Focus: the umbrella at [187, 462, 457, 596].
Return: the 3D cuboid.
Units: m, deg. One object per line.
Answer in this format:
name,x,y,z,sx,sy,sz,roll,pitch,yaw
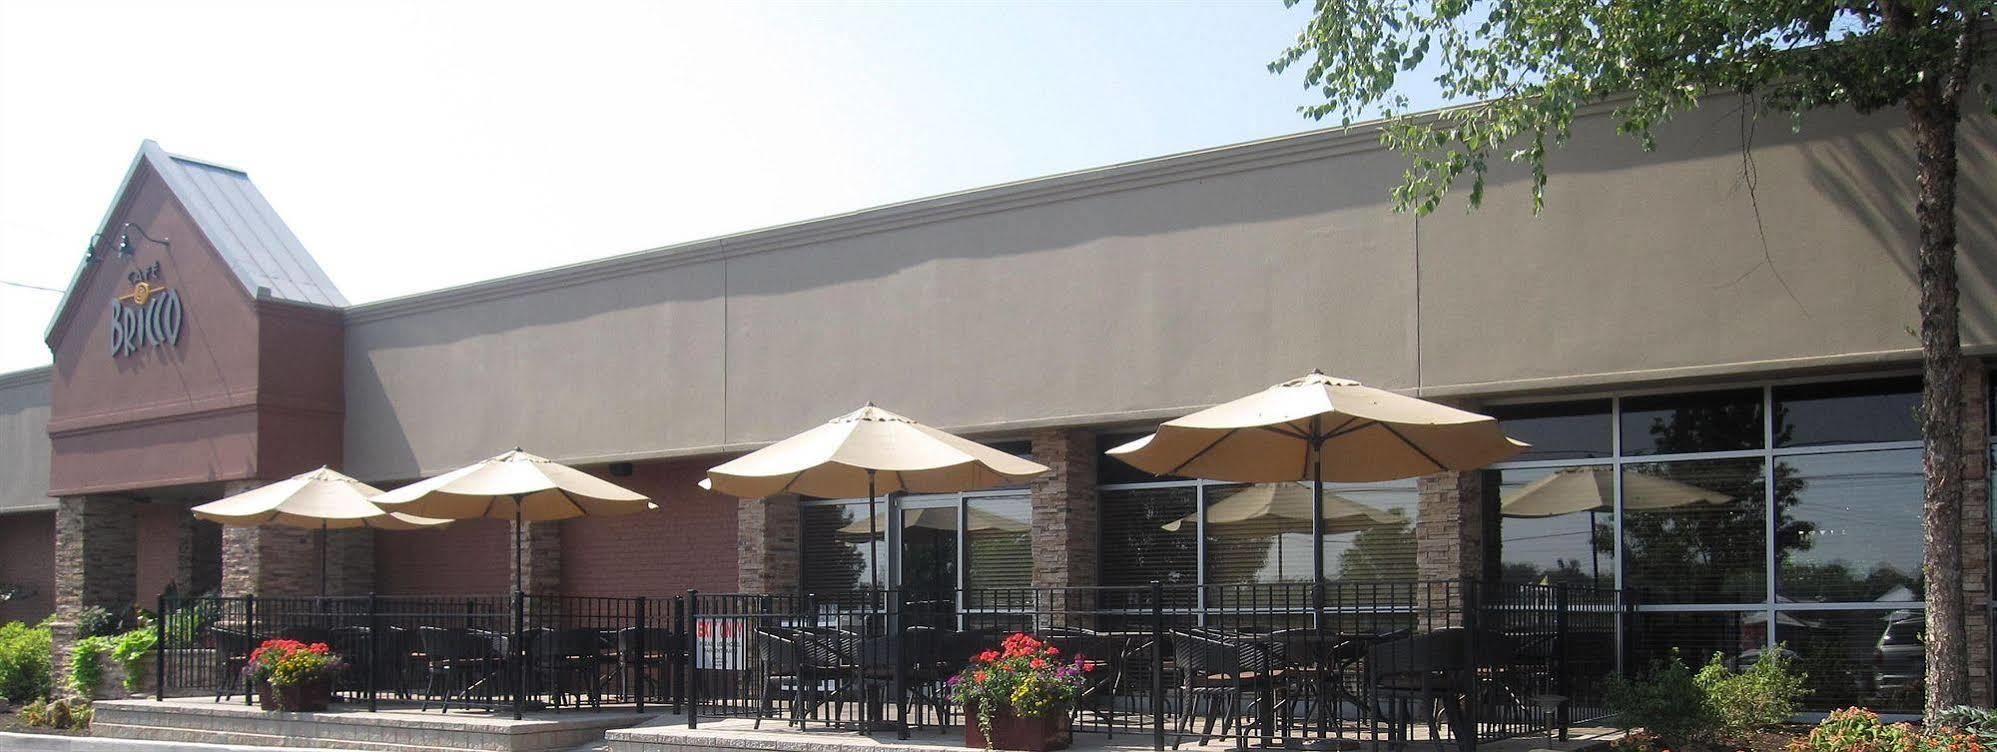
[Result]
umbrella,-19.093,4.981,54.819,6.100,3.099,5.028,0,1,-2
